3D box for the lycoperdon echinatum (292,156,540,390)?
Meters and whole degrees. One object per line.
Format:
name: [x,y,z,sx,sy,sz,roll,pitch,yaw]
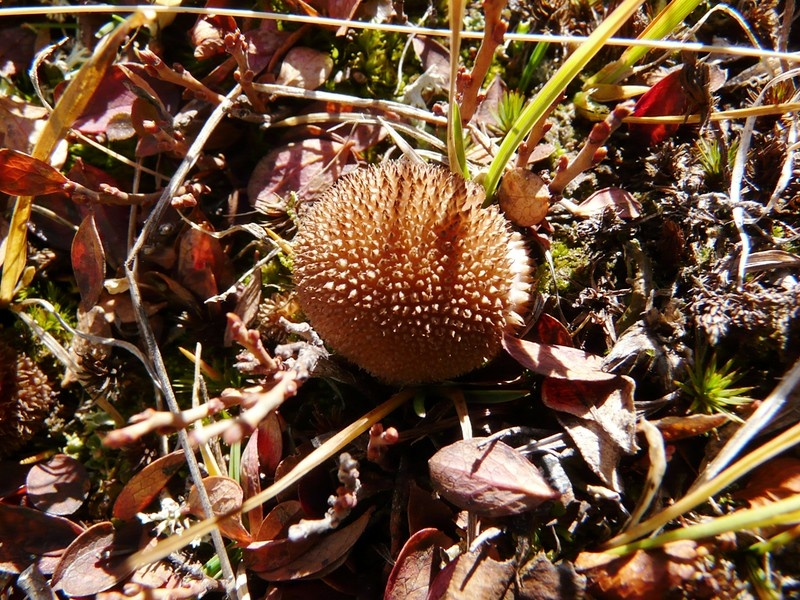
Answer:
lycoperdon echinatum: [0.012,-0.105,2.380,0.748,0.248,0.757,-11,81,-3]
